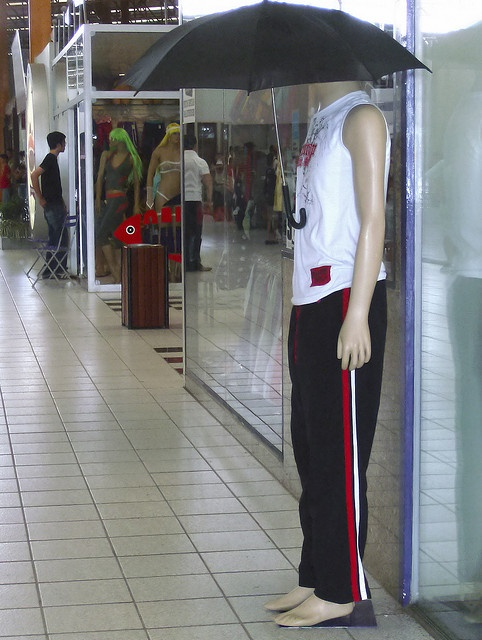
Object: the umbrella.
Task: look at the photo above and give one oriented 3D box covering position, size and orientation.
[{"bbox_3d":[0.066,-0.551,1.617,0.540,0.468,0.626,-10,13,9],"label":"umbrella"}]
